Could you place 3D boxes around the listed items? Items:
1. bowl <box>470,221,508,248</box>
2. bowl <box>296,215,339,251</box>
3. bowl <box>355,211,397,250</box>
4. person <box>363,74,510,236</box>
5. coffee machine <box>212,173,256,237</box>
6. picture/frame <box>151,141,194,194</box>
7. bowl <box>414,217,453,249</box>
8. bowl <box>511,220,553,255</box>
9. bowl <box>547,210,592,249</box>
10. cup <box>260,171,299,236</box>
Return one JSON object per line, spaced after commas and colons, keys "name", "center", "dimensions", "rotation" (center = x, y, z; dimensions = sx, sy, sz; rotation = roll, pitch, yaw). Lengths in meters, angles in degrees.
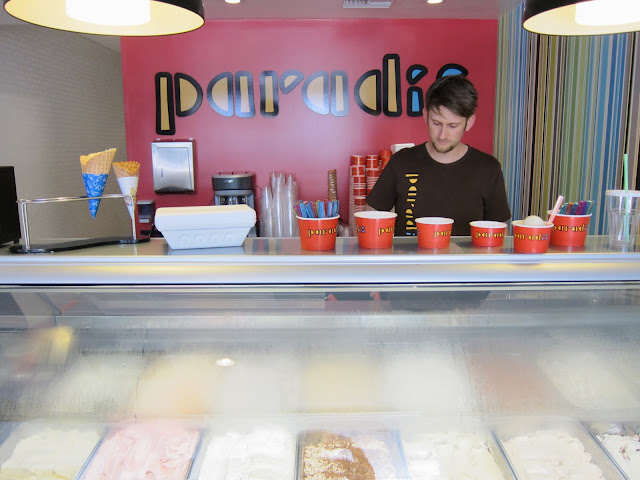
{"name": "bowl", "center": [0.511, -0.024, 1.374], "dimensions": [0.087, 0.054, 0.086], "rotation": [-2, 11, 0]}
{"name": "bowl", "center": [-0.004, -0.021, 1.345], "dimensions": [0.124, 0.091, 0.125], "rotation": [-2, 4, 0]}
{"name": "bowl", "center": [0.166, -0.031, 1.372], "dimensions": [0.113, 0.084, 0.114], "rotation": [0, 5, 0]}
{"name": "person", "center": [0.610, -0.414, 2.366], "dimensions": [0.687, 0.802, 0.375], "rotation": [5, 9, 30]}
{"name": "coffee machine", "center": [-0.666, -0.384, 3.558], "dimensions": [0.320, 0.277, 0.421], "rotation": [-1, 8, -10]}
{"name": "picture/frame", "center": [-1.178, -0.590, 3.659], "dimensions": [0.399, 0.534, 0.190], "rotation": [0, 11, -4]}
{"name": "bowl", "center": [0.341, -0.018, 1.343], "dimensions": [0.106, 0.084, 0.120], "rotation": [1, 8, 6]}
{"name": "bowl", "center": [0.617, -0.016, 1.307], "dimensions": [0.123, 0.090, 0.113], "rotation": [-6, 15, 2]}
{"name": "bowl", "center": [0.737, -0.031, 1.359], "dimensions": [0.116, 0.091, 0.119], "rotation": [0, 4, 0]}
{"name": "cup", "center": [-0.324, -0.280, 3.604], "dimensions": [0.302, 0.496, 0.306], "rotation": [0, 8, 0]}
